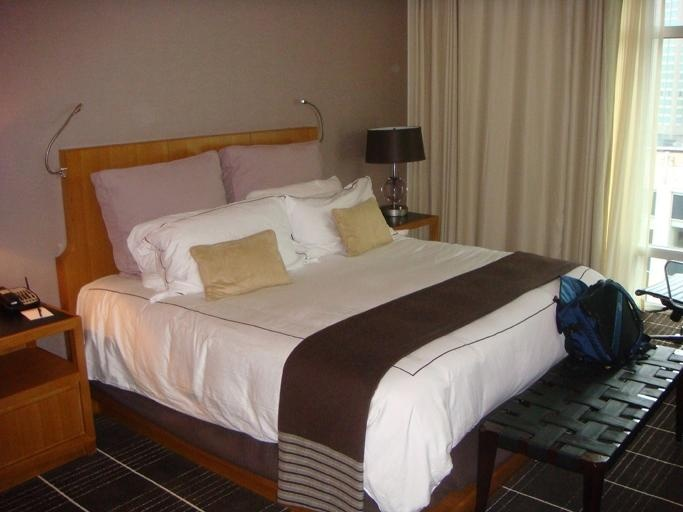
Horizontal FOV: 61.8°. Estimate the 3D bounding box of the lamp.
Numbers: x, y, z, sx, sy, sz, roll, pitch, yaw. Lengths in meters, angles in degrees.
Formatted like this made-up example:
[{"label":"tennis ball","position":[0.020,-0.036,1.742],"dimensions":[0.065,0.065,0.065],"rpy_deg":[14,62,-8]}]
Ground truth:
[{"label":"lamp","position":[0.483,-0.755,5.299],"dimensions":[0.486,0.763,0.489],"rpy_deg":[4,2,-33]}]
